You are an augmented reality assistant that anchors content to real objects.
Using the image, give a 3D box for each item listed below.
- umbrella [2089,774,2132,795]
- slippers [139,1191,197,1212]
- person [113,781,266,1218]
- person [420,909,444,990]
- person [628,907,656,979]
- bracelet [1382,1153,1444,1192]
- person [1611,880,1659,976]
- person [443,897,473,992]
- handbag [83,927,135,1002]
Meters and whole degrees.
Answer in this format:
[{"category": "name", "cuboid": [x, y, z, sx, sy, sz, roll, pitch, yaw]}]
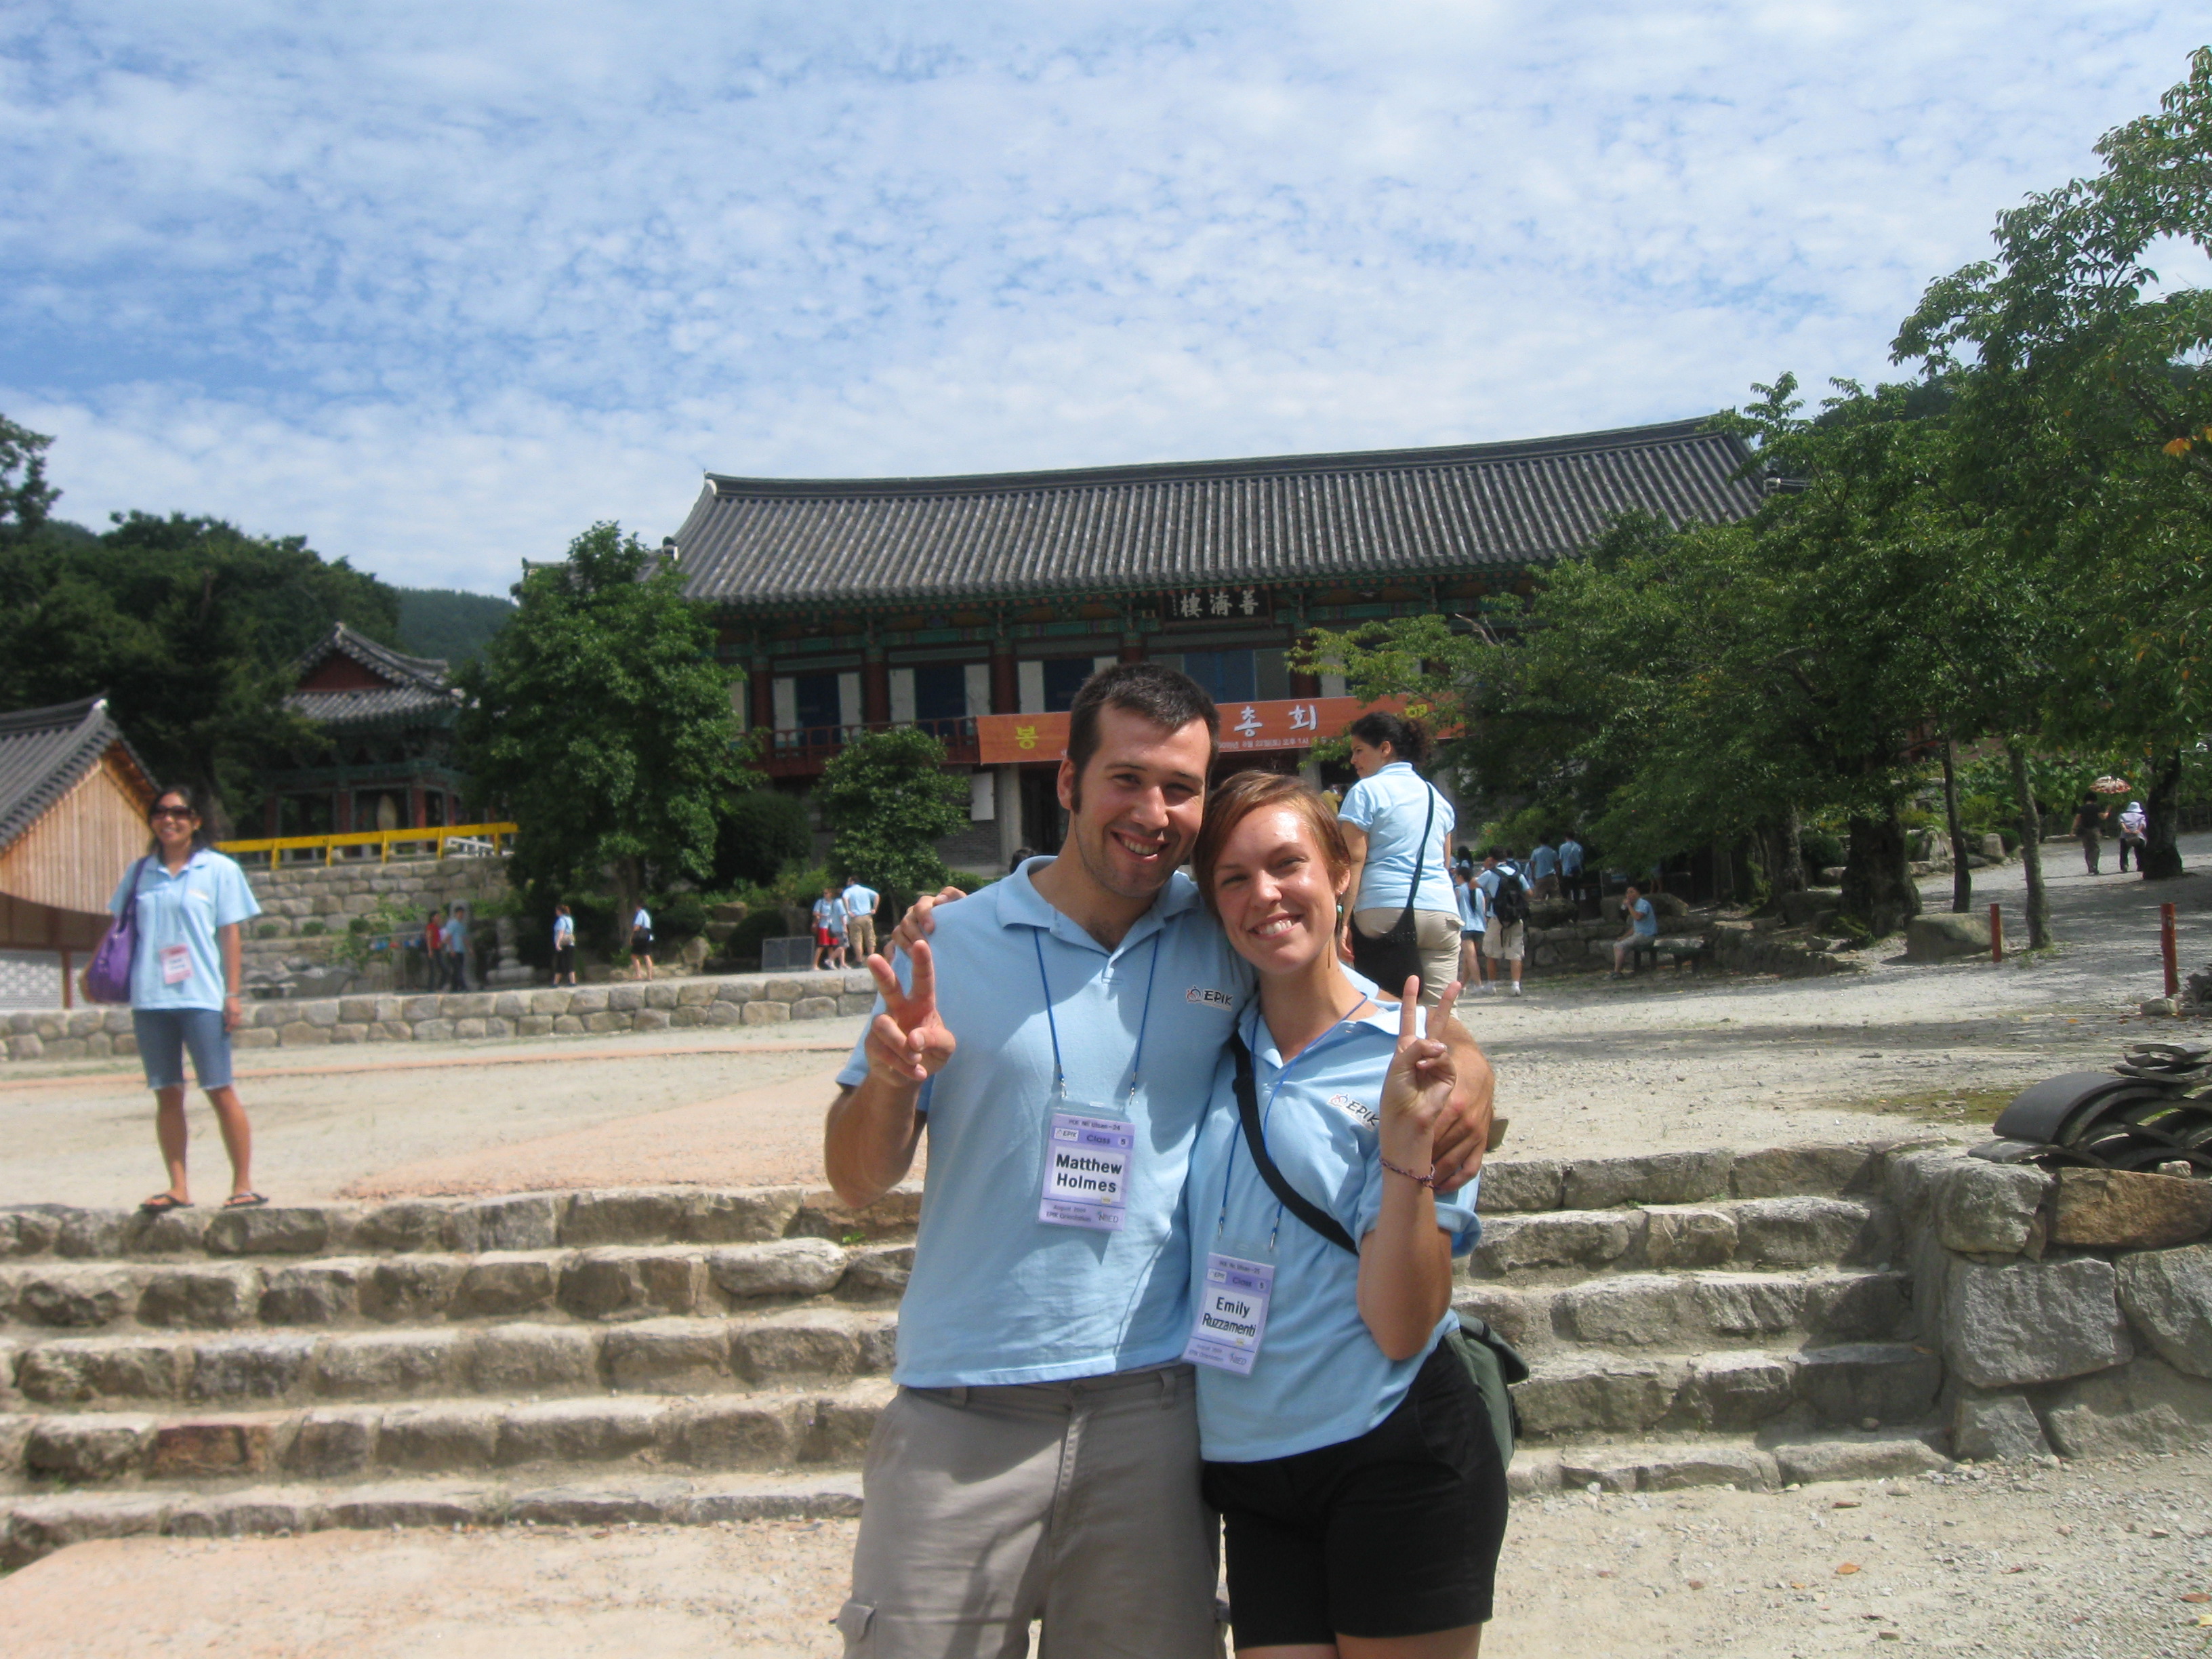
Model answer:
[{"category": "umbrella", "cuboid": [16.167, -0.700, 38.693, 0.414, 0.180, 0.403, -3, 6, -24]}, {"category": "slippers", "cuboid": [-4.449, 1.758, 11.377, 0.179, 0.069, 0.099, 4, -6, -12]}, {"category": "person", "cuboid": [-4.456, 0.798, 11.730, 0.613, 2.003, 1.244, -2, -1, -20]}, {"category": "person", "cuboid": [-9.271, 1.637, 33.133, 0.307, 0.735, 1.117, -2, -2, -19]}, {"category": "person", "cuboid": [-6.074, 1.410, 31.446, 0.323, 0.650, 0.899, -2, -2, -11]}, {"category": "bracelet", "cuboid": [0.988, 1.109, 7.765, 0.202, 0.101, 0.092, -2, -1, -5]}, {"category": "person", "cuboid": [5.432, 1.038, 24.643, 0.407, 0.786, 1.549, -3, -2, 12]}, {"category": "person", "cuboid": [-8.827, 1.617, 32.788, 0.338, 0.754, 0.965, -2, -2, -16]}, {"category": "handbag", "cuboid": [-4.812, 0.648, 11.550, 0.255, 0.356, 0.266, -1, -2, -39]}]
